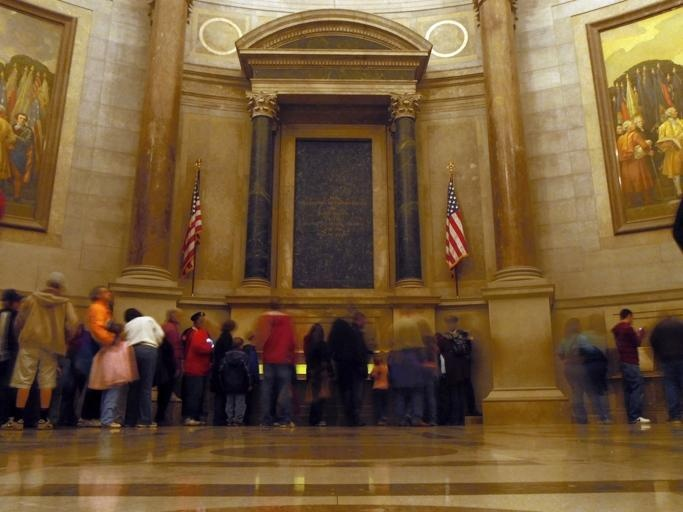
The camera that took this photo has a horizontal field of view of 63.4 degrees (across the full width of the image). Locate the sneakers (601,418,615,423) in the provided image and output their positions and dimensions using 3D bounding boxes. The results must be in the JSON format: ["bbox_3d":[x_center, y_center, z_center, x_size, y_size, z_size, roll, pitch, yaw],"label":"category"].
[{"bbox_3d":[3.927,2.470,8.225,0.113,0.037,0.114,-2,0,45],"label":"sneakers"}]

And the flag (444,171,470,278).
[{"bbox_3d":[2.277,-0.737,11.150,0.469,2.092,0.525,-2,-9,11],"label":"flag"}]

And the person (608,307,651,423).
[{"bbox_3d":[4.356,1.688,8.337,0.390,1.730,1.474,-5,-9,28],"label":"person"}]

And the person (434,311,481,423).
[{"bbox_3d":[1.998,1.936,9.382,0.496,1.770,1.484,-6,-10,32],"label":"person"}]

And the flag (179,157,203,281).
[{"bbox_3d":[-2.912,-0.791,10.907,0.420,2.396,0.612,3,-9,-19],"label":"flag"}]
